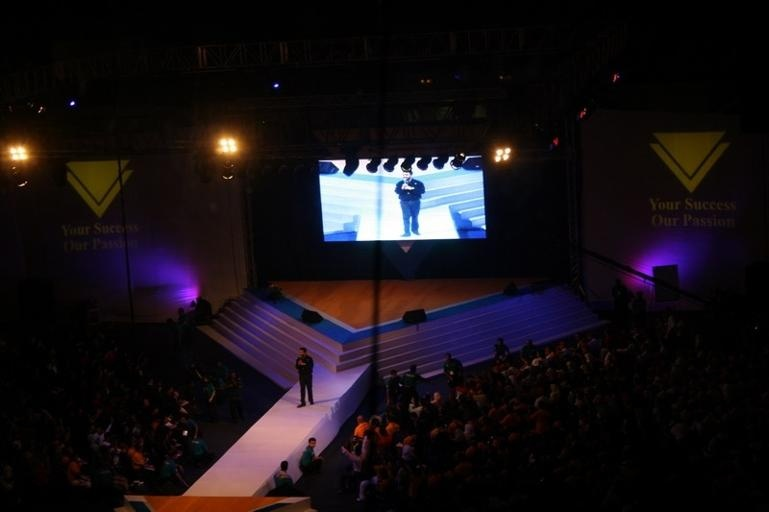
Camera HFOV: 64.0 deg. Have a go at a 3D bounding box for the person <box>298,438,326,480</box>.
[{"bbox_3d":[-1.792,4.843,14.847,0.575,0.878,0.450,-1,-9,-23],"label":"person"}]

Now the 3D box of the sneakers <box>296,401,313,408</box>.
[{"bbox_3d":[-2.161,4.011,16.764,0.516,0.168,0.212,2,-70,-4],"label":"sneakers"}]

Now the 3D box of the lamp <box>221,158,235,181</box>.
[{"bbox_3d":[-5.087,-2.853,19.925,0.498,0.918,0.500,1,9,0],"label":"lamp"}]

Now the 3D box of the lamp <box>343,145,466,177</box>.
[{"bbox_3d":[0.821,-3.358,21.477,4.169,0.998,0.995,-2,-4,7],"label":"lamp"}]

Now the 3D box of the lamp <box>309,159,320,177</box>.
[{"bbox_3d":[-2.565,-3.230,22.598,0.357,0.142,0.471,-12,-17,-15],"label":"lamp"}]
